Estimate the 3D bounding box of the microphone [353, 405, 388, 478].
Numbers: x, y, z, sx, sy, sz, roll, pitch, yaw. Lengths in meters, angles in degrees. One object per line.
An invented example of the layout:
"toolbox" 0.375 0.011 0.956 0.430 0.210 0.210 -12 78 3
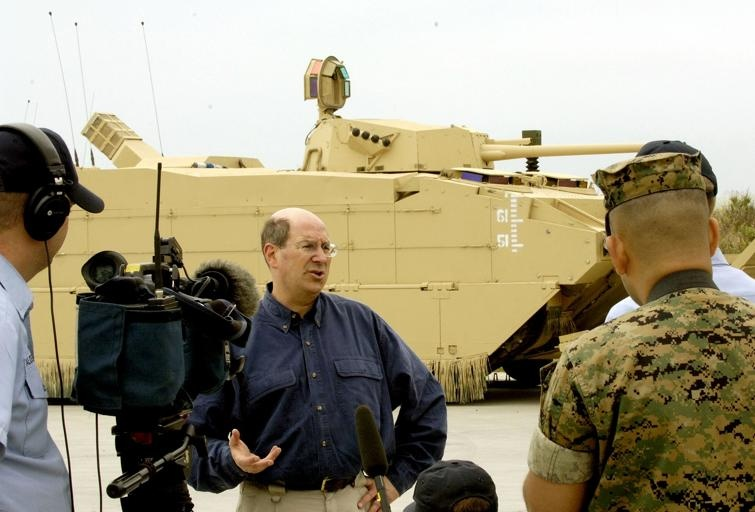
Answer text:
"microphone" -0.026 0.773 4.408 0.135 0.275 0.166 4 -1 0
